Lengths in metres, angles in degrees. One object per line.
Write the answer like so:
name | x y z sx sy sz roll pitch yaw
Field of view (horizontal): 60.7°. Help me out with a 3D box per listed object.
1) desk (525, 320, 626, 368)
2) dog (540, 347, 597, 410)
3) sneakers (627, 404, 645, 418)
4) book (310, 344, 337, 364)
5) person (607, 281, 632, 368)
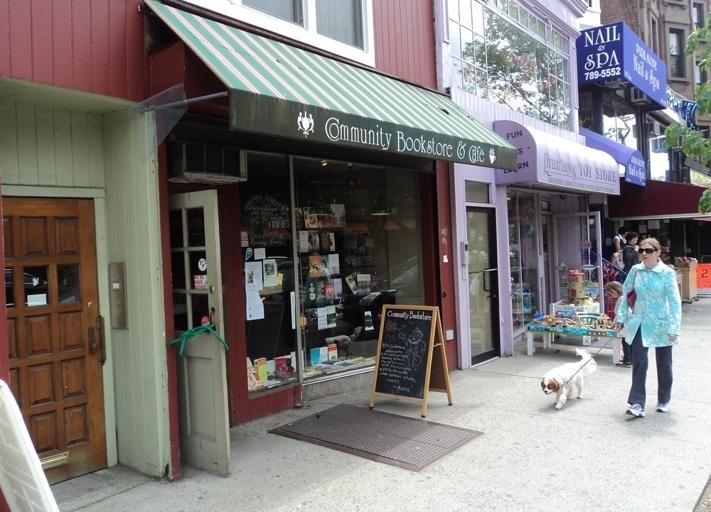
desk | 4.192 1.616 11.449 1.950 0.906 1.385 -2 1 37
dog | 3.013 1.776 8.886 0.463 0.766 1.584 0 2 38
sneakers | 3.685 2.050 8.021 0.111 0.152 0.309 -9 -18 41
book | -0.477 1.515 9.325 0.038 0.281 0.570 4 8 40
person | 4.736 1.119 10.846 0.475 1.650 0.446 6 -14 2
